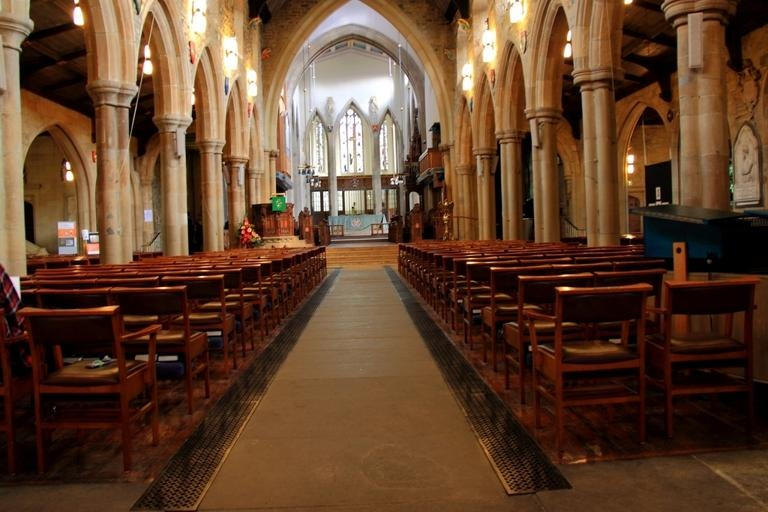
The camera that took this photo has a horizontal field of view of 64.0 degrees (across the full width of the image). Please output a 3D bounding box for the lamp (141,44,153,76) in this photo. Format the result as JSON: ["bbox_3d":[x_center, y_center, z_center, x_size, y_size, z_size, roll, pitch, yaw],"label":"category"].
[{"bbox_3d":[-6.022,-5.020,15.555,0.206,0.913,2.200,-5,11,-20],"label":"lamp"}]

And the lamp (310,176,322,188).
[{"bbox_3d":[-4.776,-5.002,42.196,0.494,0.848,0.866,2,24,3],"label":"lamp"}]

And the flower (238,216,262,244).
[{"bbox_3d":[-4.690,-0.837,21.059,0.888,0.512,0.829,13,-8,-42],"label":"flower"}]

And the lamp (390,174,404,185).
[{"bbox_3d":[0.800,-4.807,38.532,1.177,0.535,1.233,-1,0,-2],"label":"lamp"}]
